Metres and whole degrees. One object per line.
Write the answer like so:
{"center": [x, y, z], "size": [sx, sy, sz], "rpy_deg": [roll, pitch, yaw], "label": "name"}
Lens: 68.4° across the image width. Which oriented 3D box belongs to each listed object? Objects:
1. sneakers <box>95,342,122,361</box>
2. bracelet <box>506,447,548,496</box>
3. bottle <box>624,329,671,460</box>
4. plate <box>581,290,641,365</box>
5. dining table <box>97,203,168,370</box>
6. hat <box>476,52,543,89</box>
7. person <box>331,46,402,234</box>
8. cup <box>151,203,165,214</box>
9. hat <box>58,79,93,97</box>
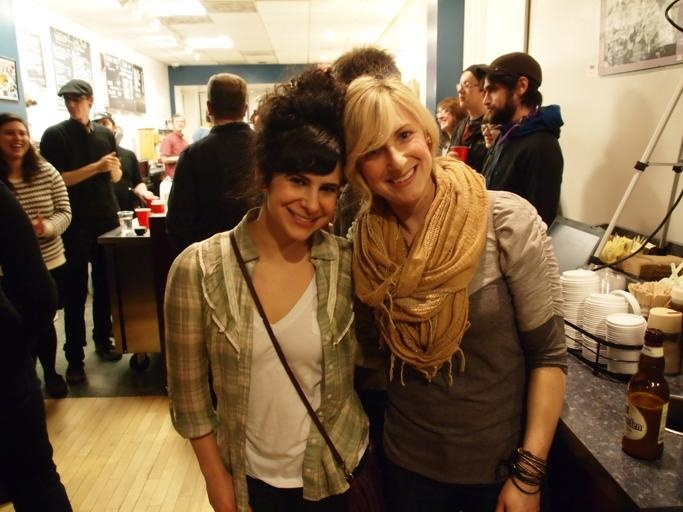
{"center": [-1.997, 0.824, 4.335], "size": [0.165, 0.161, 0.387], "rpy_deg": [2, -3, -33], "label": "sneakers"}
{"center": [0.605, 0.716, 1.687], "size": [0.118, 0.129, 0.144], "rpy_deg": [-2, 2, 4], "label": "bracelet"}
{"center": [1.010, 0.448, 1.656], "size": [0.142, 0.412, 0.144], "rpy_deg": [0, 14, 0], "label": "bottle"}
{"center": [1.146, 0.287, 2.195], "size": [0.292, 0.314, 0.191], "rpy_deg": [-1, 2, -11], "label": "plate"}
{"center": [-1.523, 0.318, 3.852], "size": [0.821, 1.328, 0.327], "rpy_deg": [11, 17, 37], "label": "dining table"}
{"center": [1.131, -1.218, 3.362], "size": [0.300, 0.165, 0.225], "rpy_deg": [24, 23, -1], "label": "hat"}
{"center": [0.077, -0.516, 1.758], "size": [0.209, 0.209, 0.714], "rpy_deg": [-9, 53, 18], "label": "person"}
{"center": [-1.357, -0.350, 3.743], "size": [0.077, 0.091, 0.092], "rpy_deg": [4, 7, 29], "label": "cup"}
{"center": [-2.187, -1.370, 4.204], "size": [0.174, 0.129, 0.255], "rpy_deg": [-5, 18, 16], "label": "hat"}
